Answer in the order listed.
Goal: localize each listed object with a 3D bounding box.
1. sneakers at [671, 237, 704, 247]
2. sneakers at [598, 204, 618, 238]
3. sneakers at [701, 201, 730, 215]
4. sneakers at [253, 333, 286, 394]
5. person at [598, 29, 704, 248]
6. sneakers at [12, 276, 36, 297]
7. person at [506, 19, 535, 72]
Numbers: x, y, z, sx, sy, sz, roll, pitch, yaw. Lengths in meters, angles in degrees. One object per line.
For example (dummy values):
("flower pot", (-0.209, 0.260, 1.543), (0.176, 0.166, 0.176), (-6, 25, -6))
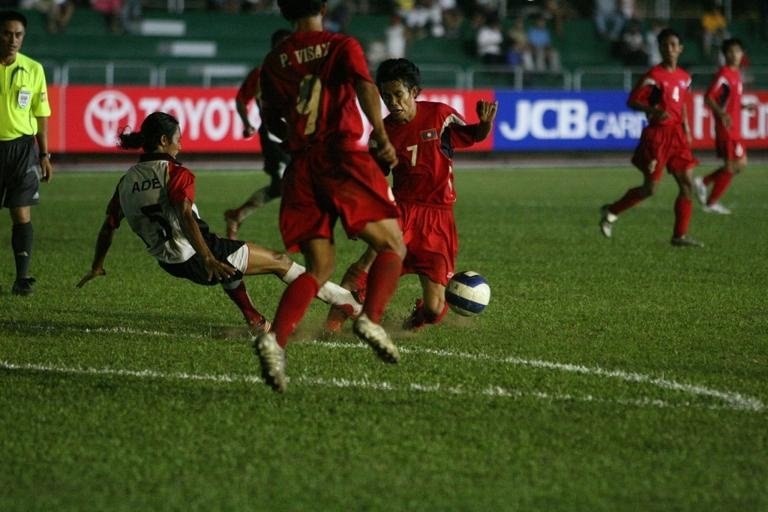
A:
("sneakers", (3.255, -0.156, 12.932), (0.330, 0.126, 0.110), (0, 1, 14))
("sneakers", (2.457, -0.379, 13.275), (0.155, 0.436, 0.189), (-3, -17, 7))
("sneakers", (4.031, -0.579, 14.585), (0.348, 0.138, 0.144), (-1, 9, -9))
("sneakers", (-0.844, 0.783, 8.997), (0.174, 0.465, 0.226), (-23, -9, 12))
("person", (2.961, -1.296, 13.033), (0.988, 2.298, 0.684), (2, 14, 12))
("sneakers", (-3.402, 0.287, 11.388), (0.107, 0.116, 0.290), (0, 5, -39))
("person", (2.798, -4.254, 24.657), (0.573, 0.775, 0.673), (1, 13, 5))
